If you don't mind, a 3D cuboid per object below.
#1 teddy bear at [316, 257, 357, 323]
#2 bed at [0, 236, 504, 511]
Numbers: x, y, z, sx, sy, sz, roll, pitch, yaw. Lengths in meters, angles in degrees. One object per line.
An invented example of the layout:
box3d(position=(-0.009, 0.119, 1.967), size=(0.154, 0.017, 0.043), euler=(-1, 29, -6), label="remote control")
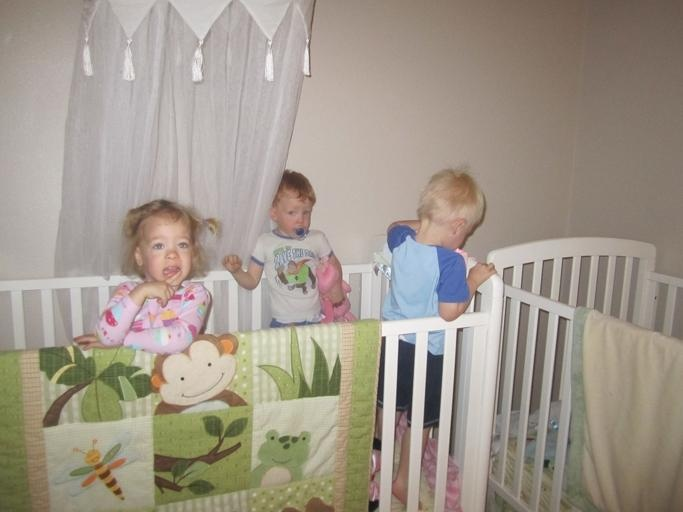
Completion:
box3d(position=(-0.059, 0.154, 2.396), size=(0.169, 0.077, 0.247), euler=(-15, 19, 26), label="teddy bear")
box3d(position=(-0.370, 0.317, 2.232), size=(1.776, 1.263, 0.956), euler=(-2, 8, -19), label="bed")
